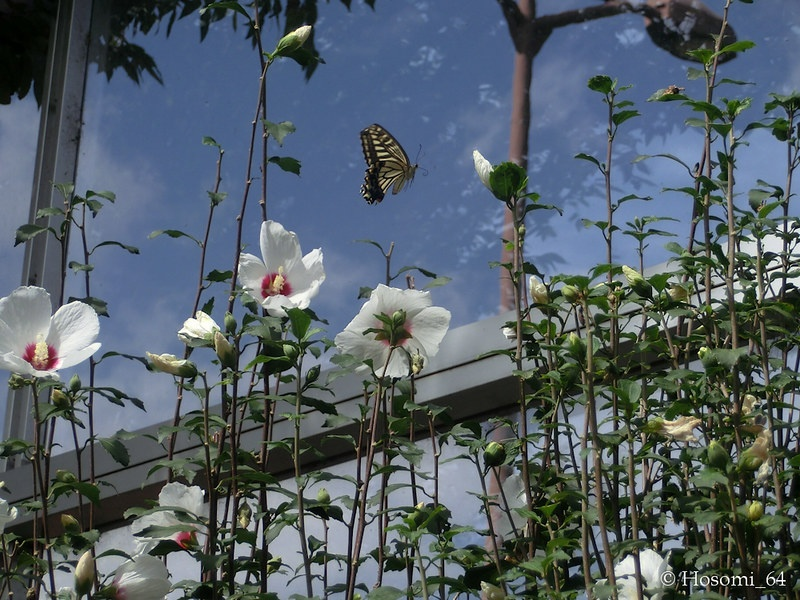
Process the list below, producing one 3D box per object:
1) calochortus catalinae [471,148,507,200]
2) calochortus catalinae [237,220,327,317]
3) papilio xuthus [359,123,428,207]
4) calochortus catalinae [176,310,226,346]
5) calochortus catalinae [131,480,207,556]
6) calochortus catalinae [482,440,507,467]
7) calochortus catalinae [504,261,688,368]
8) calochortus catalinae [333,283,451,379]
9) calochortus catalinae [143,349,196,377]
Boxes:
[{"bbox_3d":[0.235,-0.311,4.445,0.045,0.035,0.168,-8,-28,20],"label":"calochortus catalinae"},{"bbox_3d":[-0.327,-0.067,4.591,0.197,0.278,0.225,-3,-13,-5],"label":"calochortus catalinae"},{"bbox_3d":[-0.070,-0.492,5.432,0.203,0.269,0.282,-10,-24,10],"label":"papilio xuthus"},{"bbox_3d":[-0.535,0.076,4.443,0.094,0.091,0.045,-13,-11,-4],"label":"calochortus catalinae"},{"bbox_3d":[-0.636,0.580,4.488,0.198,0.197,0.093,-15,-56,20],"label":"calochortus catalinae"},{"bbox_3d":[0.249,0.407,4.400,0.058,0.074,0.100,-8,-24,4],"label":"calochortus catalinae"},{"bbox_3d":[0.515,0.064,4.510,0.405,0.272,0.160,-15,-64,10],"label":"calochortus catalinae"},{"bbox_3d":[-0.018,0.085,4.453,0.270,0.201,0.179,-19,-27,28],"label":"calochortus catalinae"},{"bbox_3d":[-0.607,0.191,4.436,0.106,0.038,0.079,22,11,-7],"label":"calochortus catalinae"}]
